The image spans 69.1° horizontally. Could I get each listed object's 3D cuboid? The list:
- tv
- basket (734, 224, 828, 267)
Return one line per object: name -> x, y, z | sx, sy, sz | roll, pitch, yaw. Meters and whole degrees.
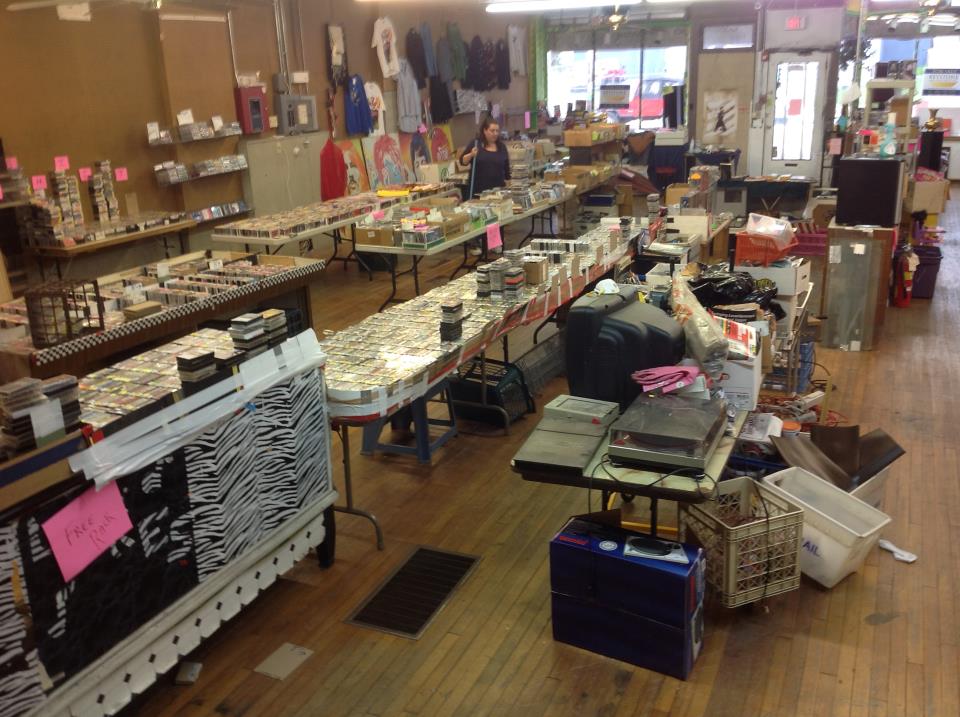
tv -> 0.960, -0.054, 4.500 | 0.707, 0.670, 0.522 | 14, 30, 35
basket -> 2.704, -0.996, 6.410 | 0.801, 0.169, 0.714 | 1, 17, 5
